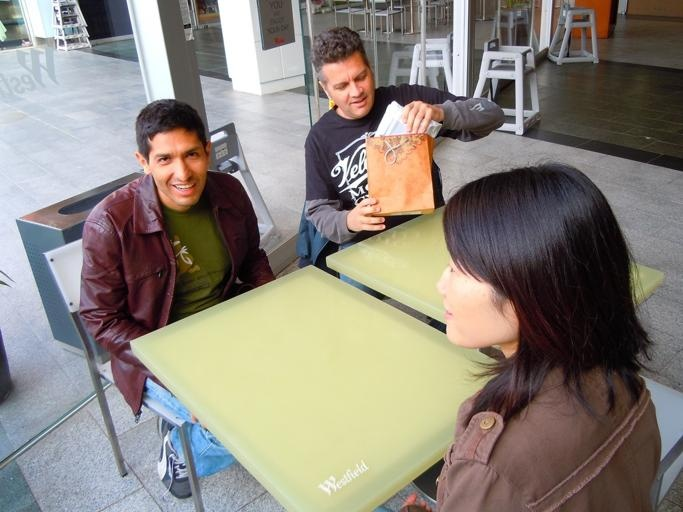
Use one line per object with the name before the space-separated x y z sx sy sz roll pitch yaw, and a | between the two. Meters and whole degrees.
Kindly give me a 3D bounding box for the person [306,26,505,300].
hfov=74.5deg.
person | 0.212 -0.362 1.955 0.821 1.142 0.932 -3 36 15
